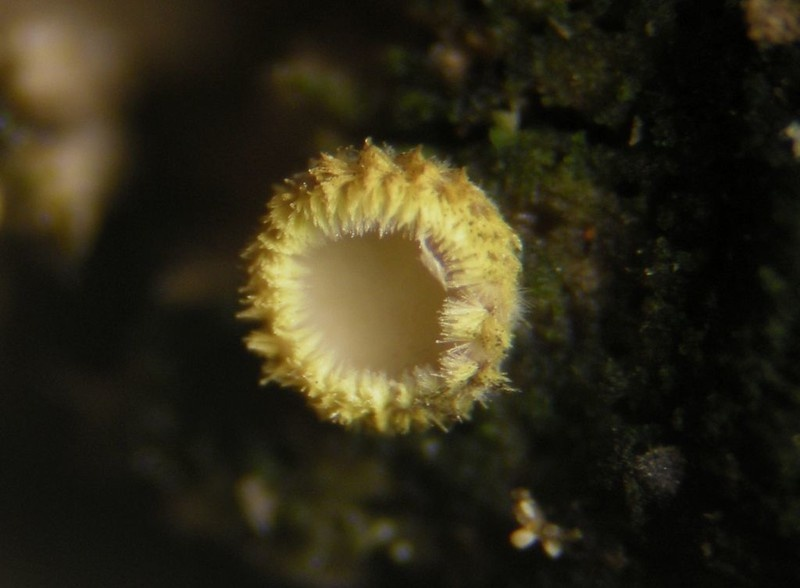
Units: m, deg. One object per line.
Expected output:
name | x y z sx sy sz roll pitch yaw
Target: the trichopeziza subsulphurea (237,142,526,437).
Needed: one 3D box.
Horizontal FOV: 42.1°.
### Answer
trichopeziza subsulphurea | -0.042 -0.018 2.773 0.773 0.269 0.752 7 82 -4
